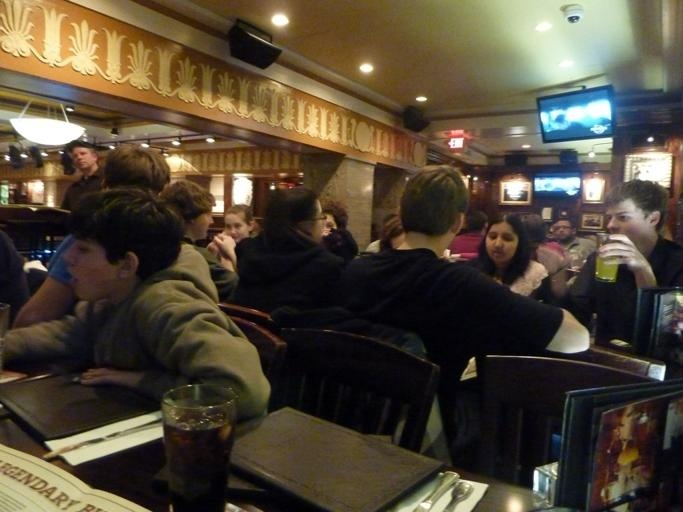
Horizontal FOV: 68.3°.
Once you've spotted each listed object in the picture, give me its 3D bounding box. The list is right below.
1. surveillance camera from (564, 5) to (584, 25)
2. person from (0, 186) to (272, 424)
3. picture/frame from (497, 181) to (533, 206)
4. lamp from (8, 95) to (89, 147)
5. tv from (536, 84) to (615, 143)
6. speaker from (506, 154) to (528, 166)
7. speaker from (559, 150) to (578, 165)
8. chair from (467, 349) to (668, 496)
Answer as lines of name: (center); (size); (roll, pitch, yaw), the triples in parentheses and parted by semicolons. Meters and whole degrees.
surveillance camera: (1.928, -2.011, 4.201); (0.118, 0.078, 0.113); (4, 8, 26)
person: (-0.465, 0.156, 1.496); (0.839, 0.560, 0.681); (6, 0, -31)
picture/frame: (4.311, -1.560, 12.396); (0.707, 0.536, 0.072); (5, 10, 39)
lamp: (-3.341, -1.483, 5.650); (0.455, 0.419, 0.788); (10, 12, 41)
tv: (2.824, -1.729, 6.040); (0.799, 0.510, 0.111); (4, 30, 43)
speaker: (4.095, -2.250, 11.814); (0.502, 0.234, 0.321); (1, 7, 15)
speaker: (4.970, -2.156, 11.031); (0.326, 0.289, 0.325); (7, 4, 39)
chair: (0.569, 0.457, 1.455); (0.402, 0.411, 0.356); (19, -13, -1)
